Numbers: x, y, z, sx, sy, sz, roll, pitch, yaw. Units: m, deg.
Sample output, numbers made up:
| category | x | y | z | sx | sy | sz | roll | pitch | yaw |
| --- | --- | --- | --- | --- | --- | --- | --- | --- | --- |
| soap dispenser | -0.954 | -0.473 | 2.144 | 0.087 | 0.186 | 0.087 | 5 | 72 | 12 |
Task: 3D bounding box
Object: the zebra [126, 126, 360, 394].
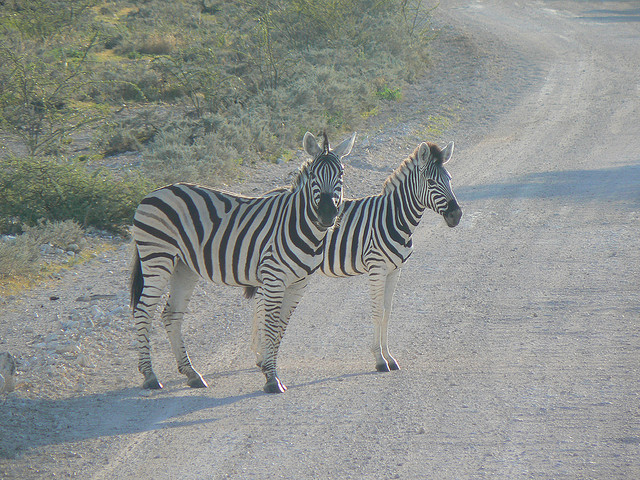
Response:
| category | x | y | z | sx | sy | sz | roll | pitch | yaw |
| --- | --- | --- | --- | --- | --- | --- | --- | --- | --- |
| zebra | -1.350 | 0.414 | 16.977 | 5.274 | 4.401 | 1.754 | 0 | -3 | 37 |
